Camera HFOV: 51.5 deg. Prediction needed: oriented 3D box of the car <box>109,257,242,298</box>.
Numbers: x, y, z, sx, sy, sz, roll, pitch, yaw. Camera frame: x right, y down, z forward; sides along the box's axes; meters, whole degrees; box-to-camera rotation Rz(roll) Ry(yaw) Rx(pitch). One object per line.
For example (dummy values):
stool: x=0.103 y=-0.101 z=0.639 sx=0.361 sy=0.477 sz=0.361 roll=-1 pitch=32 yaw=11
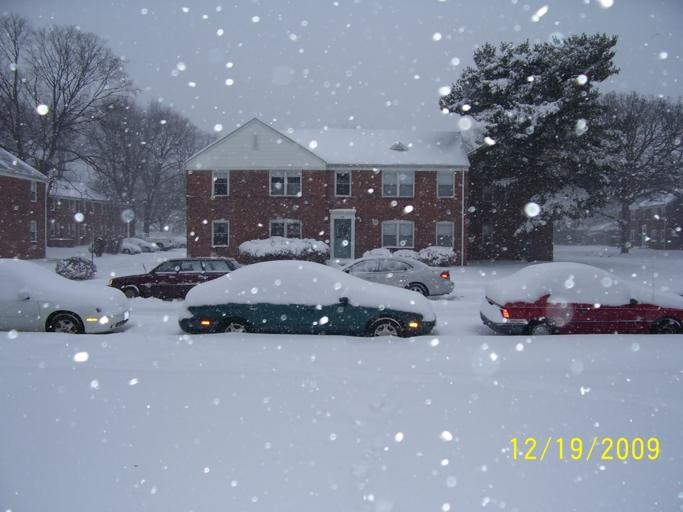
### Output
car: x=-5.127 y=0.703 z=21.768 sx=3.349 sy=1.291 sz=0.805 roll=1 pitch=1 yaw=-1
